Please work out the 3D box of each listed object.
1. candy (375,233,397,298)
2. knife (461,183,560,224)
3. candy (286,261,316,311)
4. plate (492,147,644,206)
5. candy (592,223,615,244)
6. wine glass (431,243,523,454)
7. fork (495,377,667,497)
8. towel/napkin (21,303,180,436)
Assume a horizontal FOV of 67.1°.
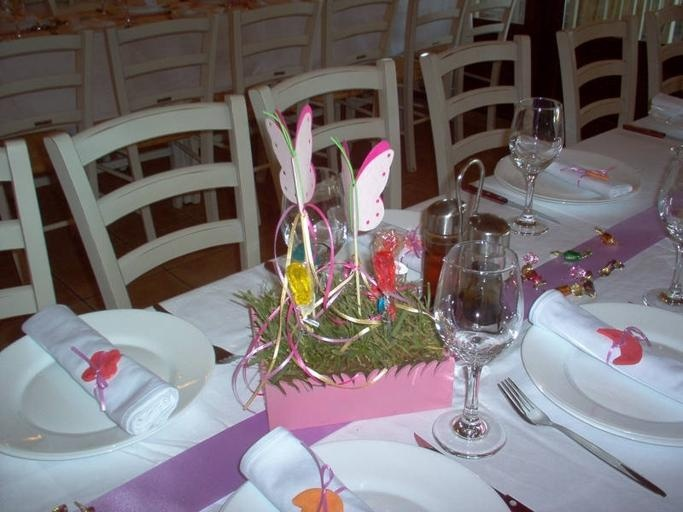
[{"bbox_3d":[0.066,0.018,0.763,0.034,0.032,0.109,25,47,-23],"label":"candy"},{"bbox_3d":[0.390,-0.118,1.176,0.032,0.013,0.224,-24,41,-25],"label":"knife"},{"bbox_3d":[-0.058,0.042,0.738,0.036,0.071,0.022,-14,1,-19],"label":"candy"},{"bbox_3d":[0.599,-0.200,1.314,0.208,0.032,0.207,-25,37,-34],"label":"plate"},{"bbox_3d":[0.560,-0.053,1.099,0.025,0.013,0.046,-9,53,-14],"label":"candy"},{"bbox_3d":[0.179,0.130,0.693,0.128,0.252,0.102,-19,25,-35],"label":"wine glass"},{"bbox_3d":[0.327,0.251,0.696,0.033,0.030,0.243,-38,41,-22],"label":"fork"},{"bbox_3d":[-0.384,0.149,0.810,0.325,0.075,0.120,31,42,30],"label":"towel/napkin"}]
